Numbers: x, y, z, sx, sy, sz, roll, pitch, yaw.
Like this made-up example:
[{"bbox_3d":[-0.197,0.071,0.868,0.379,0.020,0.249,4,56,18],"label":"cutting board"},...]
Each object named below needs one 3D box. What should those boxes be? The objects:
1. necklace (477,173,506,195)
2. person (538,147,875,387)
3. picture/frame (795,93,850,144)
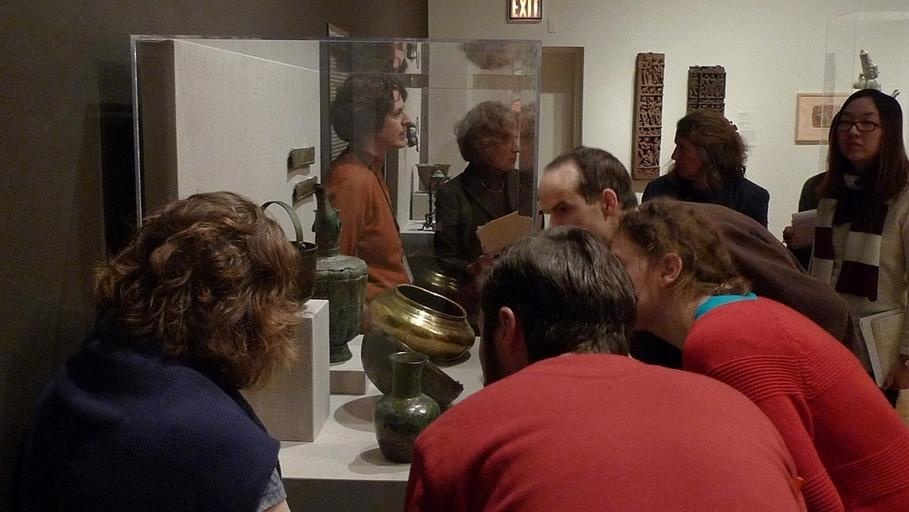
[{"bbox_3d":[0.157,-0.316,2.788,0.103,0.072,0.083,-3,12,7],"label":"necklace"},{"bbox_3d":[1.074,0.121,2.565,0.667,1.176,0.519,-2,-2,-12],"label":"person"},{"bbox_3d":[3.648,-1.368,6.274,0.558,0.446,0.035,-3,5,0],"label":"picture/frame"}]
